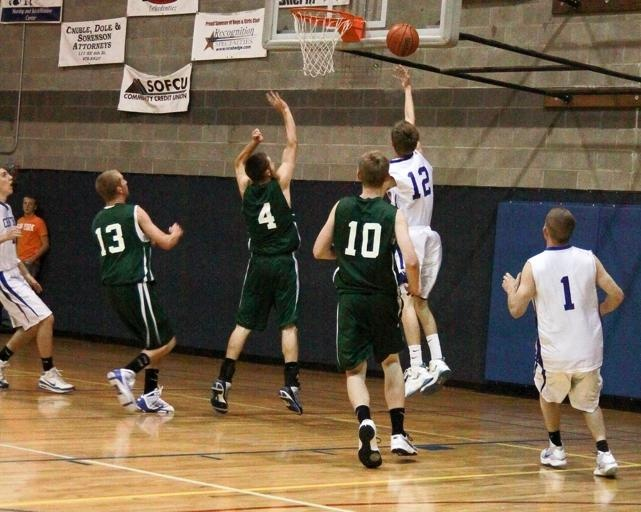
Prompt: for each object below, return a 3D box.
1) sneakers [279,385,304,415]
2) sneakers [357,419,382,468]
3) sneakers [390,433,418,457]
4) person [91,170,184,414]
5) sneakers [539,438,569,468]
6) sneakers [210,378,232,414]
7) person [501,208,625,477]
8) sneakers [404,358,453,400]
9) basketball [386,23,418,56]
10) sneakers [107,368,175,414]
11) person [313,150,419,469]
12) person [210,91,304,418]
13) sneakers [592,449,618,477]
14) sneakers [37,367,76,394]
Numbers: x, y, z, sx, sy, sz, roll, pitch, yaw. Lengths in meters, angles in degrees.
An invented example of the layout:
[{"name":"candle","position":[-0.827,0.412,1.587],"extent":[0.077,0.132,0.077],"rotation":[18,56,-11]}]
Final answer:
[{"name":"sneakers","position":[-0.250,1.240,6.716],"extent":[0.173,0.333,0.258],"rotation":[-1,16,-5]},{"name":"sneakers","position":[0.319,1.195,5.070],"extent":[0.121,0.344,0.140],"rotation":[-6,26,6]},{"name":"sneakers","position":[0.553,1.260,5.303],"extent":[0.096,0.126,0.259],"rotation":[-10,-23,29]},{"name":"person","position":[-1.505,0.418,6.591],"extent":[0.640,2.145,0.918],"rotation":[-4,16,-17]},{"name":"sneakers","position":[1.626,1.368,5.517],"extent":[0.098,0.174,0.238],"rotation":[1,1,-4]},{"name":"sneakers","position":[-0.846,1.183,6.659],"extent":[0.126,0.318,0.152],"rotation":[2,42,11]},{"name":"person","position":[1.638,0.617,5.362],"extent":[0.747,1.790,0.778],"rotation":[-1,11,20]},{"name":"sneakers","position":[0.890,1.013,6.581],"extent":[0.202,0.294,0.603],"rotation":[0,-24,-33]},{"name":"basketball","position":[0.756,-1.947,7.140],"extent":[0.259,0.283,0.276],"rotation":[7,19,17]},{"name":"sneakers","position":[-1.542,1.164,6.790],"extent":[0.530,0.244,0.171],"rotation":[35,-9,-34]},{"name":"person","position":[0.365,0.394,5.267],"extent":[0.710,2.058,0.902],"rotation":[-5,17,-19]},{"name":"person","position":[-0.504,-0.046,6.882],"extent":[0.707,2.505,1.238],"rotation":[1,16,3]},{"name":"sneakers","position":[1.895,1.373,5.291],"extent":[0.087,0.122,0.235],"rotation":[-1,-2,3]},{"name":"sneakers","position":[-2.384,1.131,7.295],"extent":[0.400,0.216,0.151],"rotation":[9,5,24]}]
